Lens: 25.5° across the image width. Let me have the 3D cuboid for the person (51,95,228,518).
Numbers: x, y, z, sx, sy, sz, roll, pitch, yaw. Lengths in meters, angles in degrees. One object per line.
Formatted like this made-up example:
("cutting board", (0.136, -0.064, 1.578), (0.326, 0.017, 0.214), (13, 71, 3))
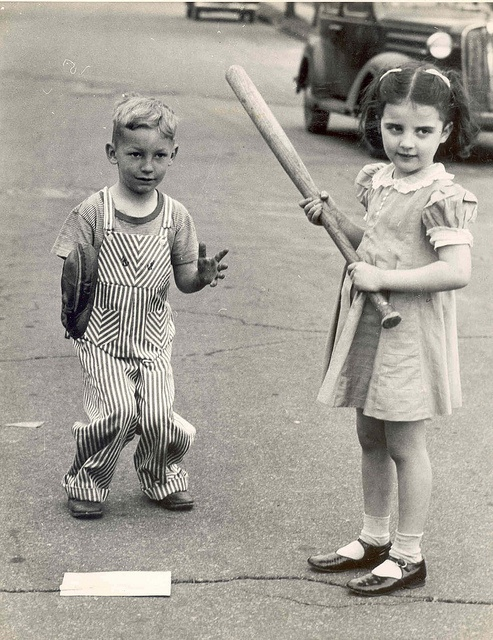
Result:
("person", (-0.355, -0.038, 3.467), (0.516, 1.306, 0.434), (-1, 21, -12))

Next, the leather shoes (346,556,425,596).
("leather shoes", (0.412, 0.737, 3.158), (0.234, 0.094, 0.089), (-4, -6, -16))

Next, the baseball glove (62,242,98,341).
("baseball glove", (-0.511, -0.084, 3.351), (0.116, 0.283, 0.096), (17, 26, 16))

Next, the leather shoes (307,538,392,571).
("leather shoes", (0.309, 0.704, 3.280), (0.241, 0.089, 0.085), (-2, -2, -13))

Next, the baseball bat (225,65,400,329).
("baseball bat", (0.228, -0.470, 4.461), (1.647, 0.142, 0.190), (54, 18, 24))
